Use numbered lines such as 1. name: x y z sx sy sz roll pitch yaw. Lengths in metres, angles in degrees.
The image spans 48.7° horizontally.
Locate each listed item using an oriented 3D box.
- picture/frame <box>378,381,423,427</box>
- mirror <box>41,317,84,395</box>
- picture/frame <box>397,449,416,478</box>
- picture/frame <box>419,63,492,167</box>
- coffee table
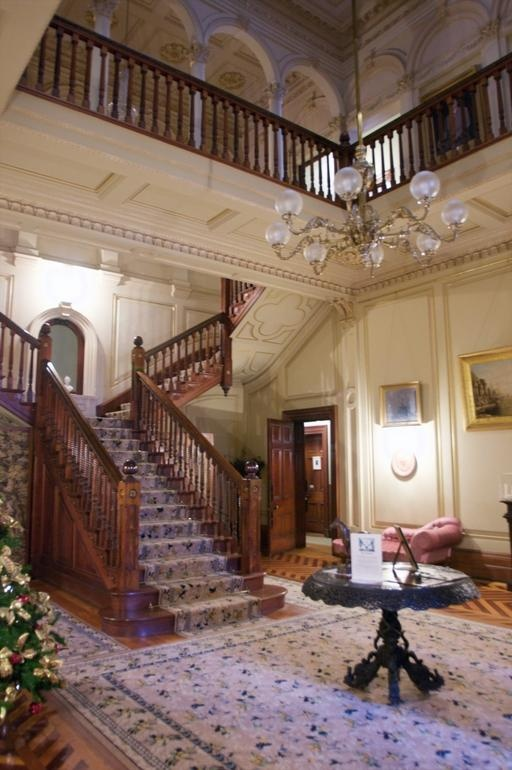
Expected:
1. picture/frame: 1.990 0.262 7.626 0.061 0.566 0.604 3 -5 -30
2. mirror: -2.826 -0.448 8.226 0.177 1.791 0.973 4 -9 -38
3. picture/frame: 2.000 1.067 7.473 0.036 0.376 0.313 8 -12 -34
4. picture/frame: 1.974 -2.608 5.717 0.756 0.078 0.713 -27 -48 -1
5. coffee table: 0.762 1.407 3.208 0.987 0.626 0.973 8 -12 -40
